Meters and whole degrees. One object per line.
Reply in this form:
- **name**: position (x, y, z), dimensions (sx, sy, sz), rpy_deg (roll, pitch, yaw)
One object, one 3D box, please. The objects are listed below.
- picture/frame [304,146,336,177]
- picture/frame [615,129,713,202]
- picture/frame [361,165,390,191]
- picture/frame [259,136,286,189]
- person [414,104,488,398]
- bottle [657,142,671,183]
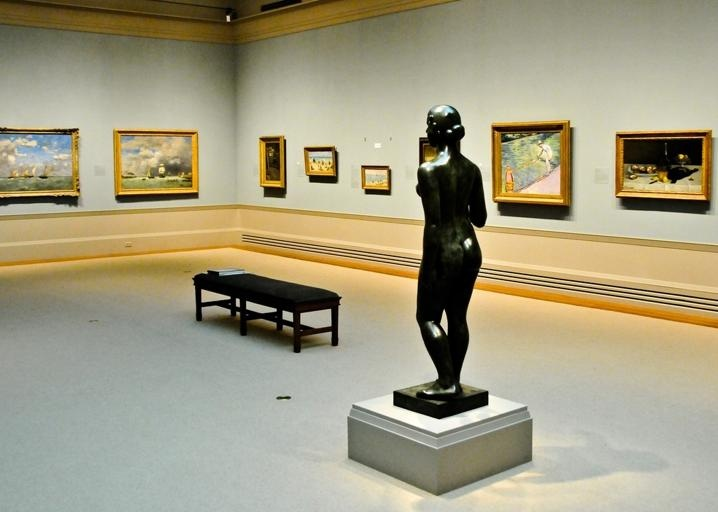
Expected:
- **picture/frame**: position (-1.190, -2.895, 15.726), dimensions (1.313, 0.933, 0.147), rpy_deg (8, 11, 42)
- **picture/frame**: position (5.671, -1.704, 9.575), dimensions (0.156, 1.233, 1.589), rpy_deg (-8, 11, -44)
- **picture/frame**: position (0.473, -2.183, 14.336), dimensions (0.130, 0.721, 1.022), rpy_deg (-8, 11, -44)
- **picture/frame**: position (-2.894, -3.144, 17.207), dimensions (0.257, 1.713, 1.197), rpy_deg (-8, 11, -44)
- **person**: position (0.853, -0.057, 4.759), dimensions (0.597, 2.717, 0.770), rpy_deg (2, 8, 14)
- **bottle**: position (5.681, -1.745, 9.511), dimensions (0.034, 0.734, 0.217), rpy_deg (-6, 9, -36)
